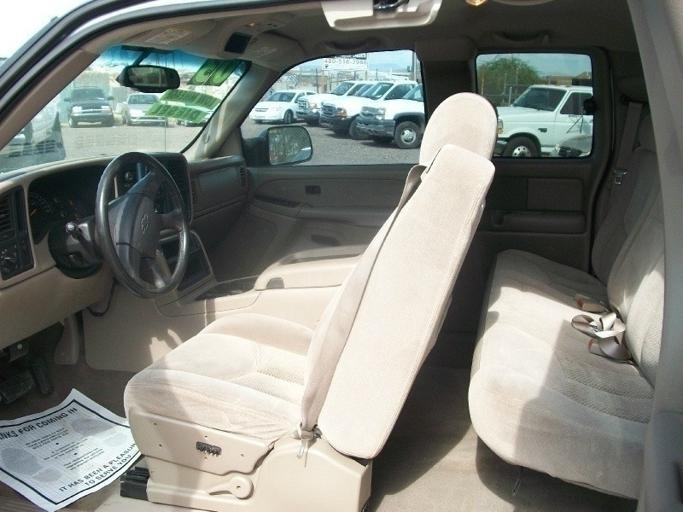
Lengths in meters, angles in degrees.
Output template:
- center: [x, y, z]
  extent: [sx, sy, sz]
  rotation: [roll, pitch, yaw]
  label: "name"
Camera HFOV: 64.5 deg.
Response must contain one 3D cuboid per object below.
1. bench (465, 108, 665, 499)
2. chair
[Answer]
- center: [0.914, 0.159, 2.184]
  extent: [0.577, 0.949, 1.252]
  rotation: [7, 27, 20]
  label: "bench"
- center: [-0.099, 0.048, 1.927]
  extent: [1.154, 1.160, 0.911]
  rotation: [7, 24, 15]
  label: "chair"
